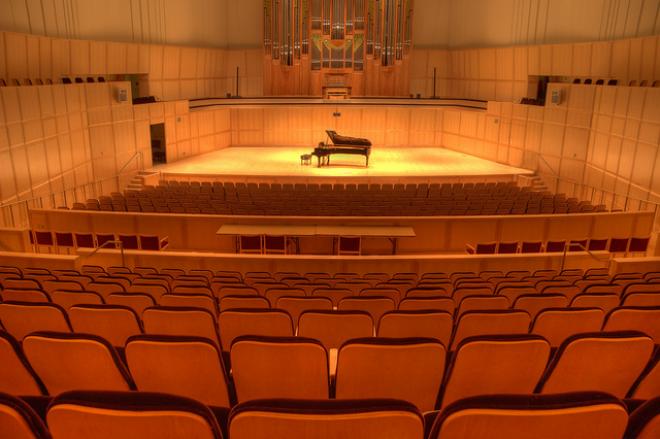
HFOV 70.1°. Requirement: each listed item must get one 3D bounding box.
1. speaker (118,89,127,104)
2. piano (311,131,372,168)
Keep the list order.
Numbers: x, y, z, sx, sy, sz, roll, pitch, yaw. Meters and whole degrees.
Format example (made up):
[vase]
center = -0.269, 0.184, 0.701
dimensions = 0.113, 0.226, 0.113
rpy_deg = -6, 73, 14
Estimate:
[speaker]
center = -5.734, -3.409, 12.953
dimensions = 0.109, 0.319, 0.297
rpy_deg = 3, -58, 23
[piano]
center = 0.431, -2.293, 15.385
dimensions = 2.059, 1.101, 1.320
rpy_deg = 6, -58, 7
